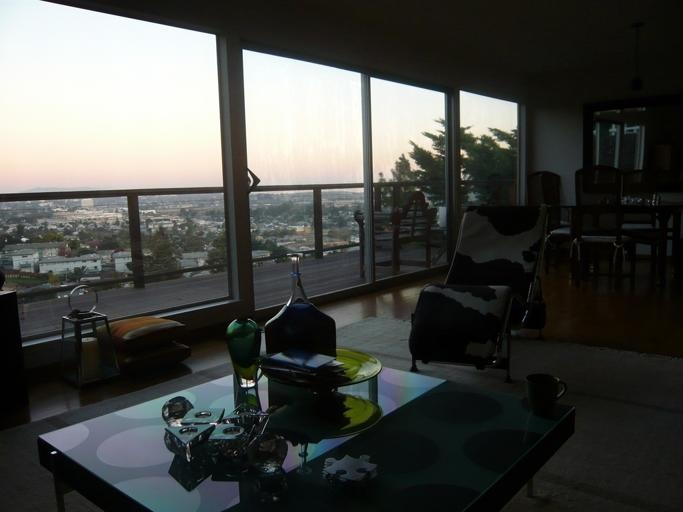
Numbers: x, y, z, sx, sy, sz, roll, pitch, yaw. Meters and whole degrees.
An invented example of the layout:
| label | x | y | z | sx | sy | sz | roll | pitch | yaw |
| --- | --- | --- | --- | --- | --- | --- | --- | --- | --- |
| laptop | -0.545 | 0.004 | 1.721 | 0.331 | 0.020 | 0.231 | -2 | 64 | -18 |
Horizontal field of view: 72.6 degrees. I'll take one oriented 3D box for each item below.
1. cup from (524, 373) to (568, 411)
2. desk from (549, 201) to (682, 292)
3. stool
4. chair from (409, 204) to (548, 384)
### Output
| label | x | y | z | sx | sy | sz | roll | pitch | yaw |
| --- | --- | --- | --- | --- | --- | --- | --- | --- | --- |
| cup | 0.698 | 0.468 | 1.576 | 0.158 | 0.104 | 0.097 | -3 | 6 | -19 |
| desk | 3.289 | -0.195 | 5.184 | 1.113 | 0.732 | 1.055 | -3 | 7 | -17 |
| stool | -1.267 | 0.580 | 3.072 | 0.366 | 0.189 | 0.416 | -10 | 12 | -27 |
| chair | 0.940 | 0.178 | 3.066 | 0.638 | 0.828 | 1.196 | 5 | 15 | 32 |
